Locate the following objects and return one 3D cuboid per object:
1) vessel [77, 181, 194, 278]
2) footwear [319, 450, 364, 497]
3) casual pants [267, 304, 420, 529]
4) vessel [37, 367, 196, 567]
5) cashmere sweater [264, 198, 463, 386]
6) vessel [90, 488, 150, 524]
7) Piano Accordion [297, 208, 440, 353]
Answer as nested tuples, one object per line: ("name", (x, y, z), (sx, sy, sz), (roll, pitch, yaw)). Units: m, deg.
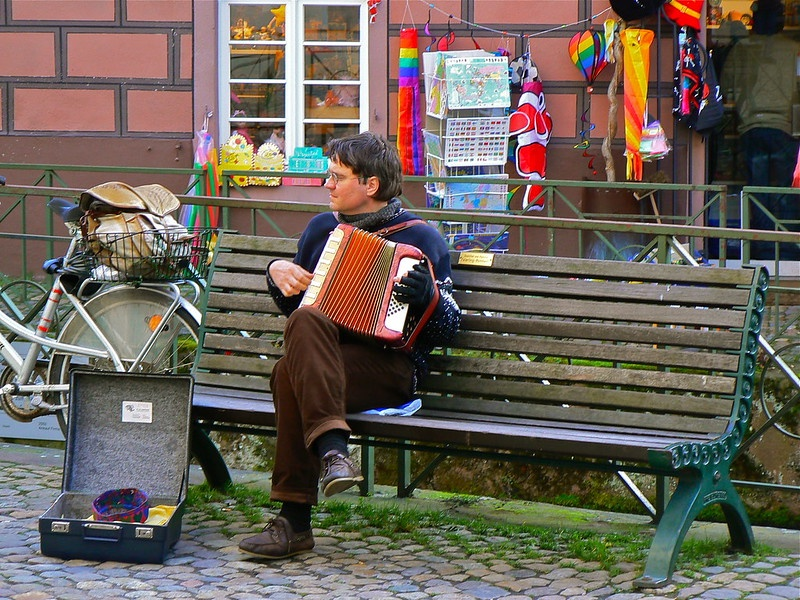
("vessel", (-1.575, -0.416, 7.627), (0.662, 0.572, 0.291), (0, 8, -13))
("footwear", (-0.292, 0.875, 6.295), (0.198, 0.263, 0.214), (1, 8, -3))
("casual pants", (-0.388, 0.512, 7.047), (1.089, 0.844, 2.071), (1, 5, 0))
("vessel", (-1.430, 0.846, 6.540), (0.634, 0.871, 0.860), (3, 4, -4))
("cashmere sweater", (-0.098, 0.062, 6.727), (0.790, 1.136, 0.403), (9, -3, 26))
("vessel", (-1.428, 1.076, 6.556), (0.292, 0.149, 0.288), (0, 8, -15))
("Piano Accordion", (-0.168, -0.121, 6.606), (0.545, 0.749, 0.250), (31, 8, 11))
